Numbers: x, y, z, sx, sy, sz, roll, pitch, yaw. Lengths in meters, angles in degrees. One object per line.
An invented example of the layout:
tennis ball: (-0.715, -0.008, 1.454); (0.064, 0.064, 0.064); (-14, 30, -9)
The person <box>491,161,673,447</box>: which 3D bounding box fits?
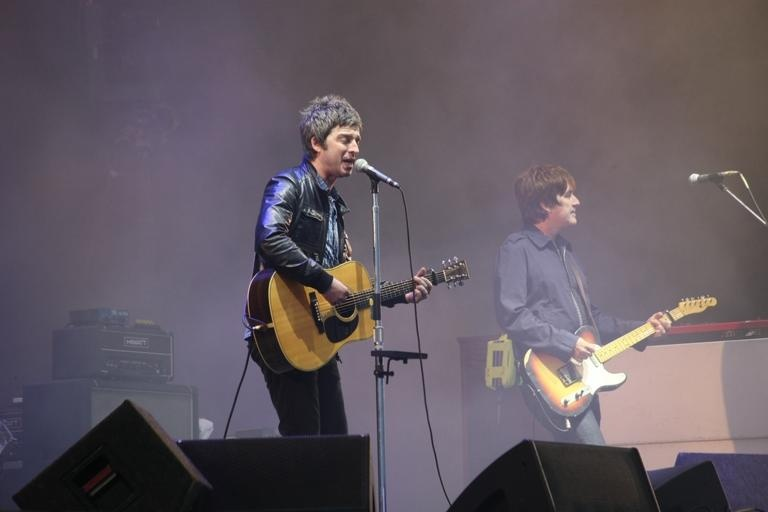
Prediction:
person: (1.864, 0.780, 6.447); (1.318, 3.381, 0.732); (1, 29, 33)
